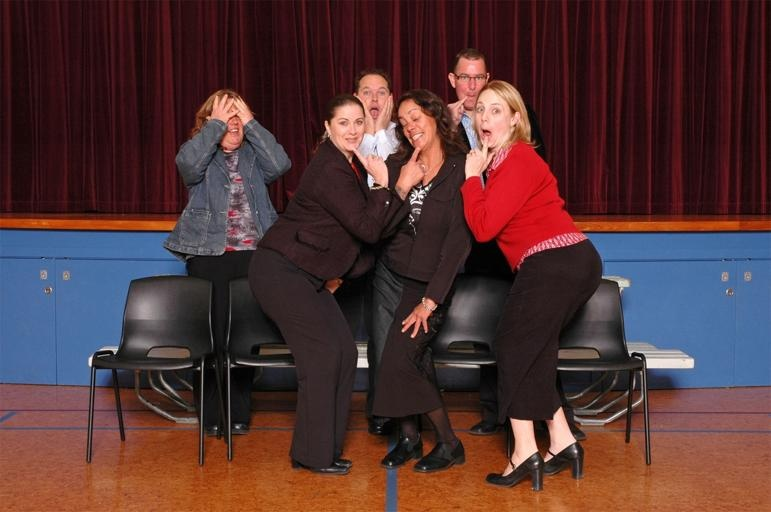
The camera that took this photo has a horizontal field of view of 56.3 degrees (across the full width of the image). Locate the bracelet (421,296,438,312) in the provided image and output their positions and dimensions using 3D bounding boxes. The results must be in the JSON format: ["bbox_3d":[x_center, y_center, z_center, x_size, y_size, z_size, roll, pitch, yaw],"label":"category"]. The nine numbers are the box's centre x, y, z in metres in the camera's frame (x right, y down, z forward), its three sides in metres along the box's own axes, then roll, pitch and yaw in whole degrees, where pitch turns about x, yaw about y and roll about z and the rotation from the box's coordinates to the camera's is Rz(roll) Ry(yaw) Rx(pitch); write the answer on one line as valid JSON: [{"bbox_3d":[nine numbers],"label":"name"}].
[{"bbox_3d":[0.299,0.324,4.845,0.102,0.099,0.074,1,1,1],"label":"bracelet"}]

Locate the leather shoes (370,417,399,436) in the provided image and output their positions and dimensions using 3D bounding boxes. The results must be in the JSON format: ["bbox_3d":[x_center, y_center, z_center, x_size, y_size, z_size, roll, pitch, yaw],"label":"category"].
[{"bbox_3d":[-0.022,1.271,5.384,0.109,0.212,0.216,4,-12,-11],"label":"leather shoes"}]

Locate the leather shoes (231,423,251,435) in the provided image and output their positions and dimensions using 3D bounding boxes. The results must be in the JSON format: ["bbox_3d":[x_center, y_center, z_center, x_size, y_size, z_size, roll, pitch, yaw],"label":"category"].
[{"bbox_3d":[-1.075,1.282,5.383,0.140,0.061,0.057,0,-2,-6],"label":"leather shoes"}]

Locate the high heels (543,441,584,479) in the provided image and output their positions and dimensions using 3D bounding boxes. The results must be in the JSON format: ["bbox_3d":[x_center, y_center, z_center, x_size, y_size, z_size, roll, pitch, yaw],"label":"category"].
[{"bbox_3d":[1.194,1.342,4.792,0.150,0.218,0.389,0,-2,-39],"label":"high heels"}]

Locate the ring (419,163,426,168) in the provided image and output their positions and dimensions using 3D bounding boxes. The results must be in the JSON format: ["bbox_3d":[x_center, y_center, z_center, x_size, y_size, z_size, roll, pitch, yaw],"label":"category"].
[{"bbox_3d":[0.252,-0.612,4.889,0.032,0.008,0.030,51,-3,3],"label":"ring"}]

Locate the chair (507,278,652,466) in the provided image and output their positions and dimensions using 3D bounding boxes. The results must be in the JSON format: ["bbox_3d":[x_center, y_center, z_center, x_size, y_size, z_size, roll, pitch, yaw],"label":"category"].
[{"bbox_3d":[1.378,0.745,4.962,0.714,1.185,0.816,-1,-6,14],"label":"chair"}]

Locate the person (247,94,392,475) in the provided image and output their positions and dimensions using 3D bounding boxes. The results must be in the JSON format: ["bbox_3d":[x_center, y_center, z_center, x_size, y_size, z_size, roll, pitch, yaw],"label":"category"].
[{"bbox_3d":[-0.423,0.183,4.868,0.932,2.546,0.354,1,1,-11],"label":"person"}]

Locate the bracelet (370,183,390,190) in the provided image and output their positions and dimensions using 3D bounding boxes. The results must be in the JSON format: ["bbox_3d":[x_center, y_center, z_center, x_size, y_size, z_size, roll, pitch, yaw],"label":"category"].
[{"bbox_3d":[-0.049,-0.464,4.834,0.080,0.031,0.062,7,7,13],"label":"bracelet"}]

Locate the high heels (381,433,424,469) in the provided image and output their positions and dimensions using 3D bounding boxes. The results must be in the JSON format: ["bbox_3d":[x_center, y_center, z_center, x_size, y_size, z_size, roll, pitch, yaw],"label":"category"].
[{"bbox_3d":[0.135,1.334,5.021,0.355,0.185,0.149,-4,0,-45],"label":"high heels"}]

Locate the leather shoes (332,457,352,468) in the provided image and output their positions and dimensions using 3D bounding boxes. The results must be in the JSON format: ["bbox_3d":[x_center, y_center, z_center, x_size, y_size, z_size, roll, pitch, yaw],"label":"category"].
[{"bbox_3d":[-0.291,1.388,4.880,0.128,0.056,0.049,-2,6,4],"label":"leather shoes"}]

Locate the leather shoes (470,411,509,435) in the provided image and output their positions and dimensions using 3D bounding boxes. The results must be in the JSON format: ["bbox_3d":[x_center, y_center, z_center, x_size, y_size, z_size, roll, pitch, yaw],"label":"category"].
[{"bbox_3d":[0.771,1.255,5.422,0.376,0.160,0.162,2,-6,-19],"label":"leather shoes"}]

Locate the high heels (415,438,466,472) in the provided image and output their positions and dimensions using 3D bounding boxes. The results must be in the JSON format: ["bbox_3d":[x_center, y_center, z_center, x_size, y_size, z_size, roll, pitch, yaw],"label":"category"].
[{"bbox_3d":[0.390,1.347,4.971,0.353,0.162,0.162,-3,-2,-31],"label":"high heels"}]
